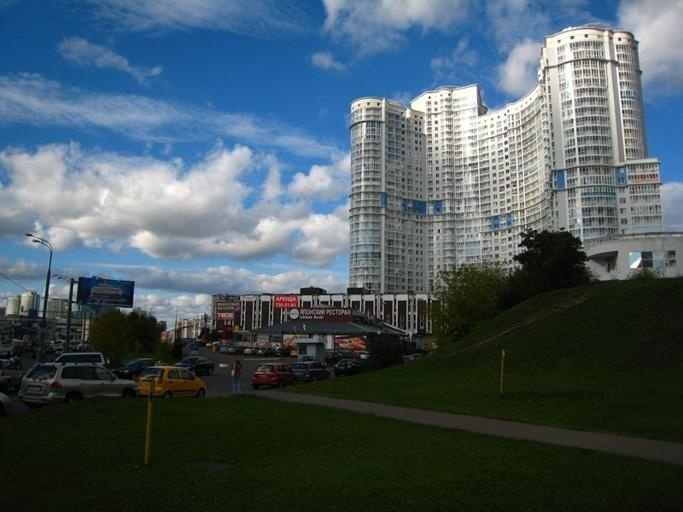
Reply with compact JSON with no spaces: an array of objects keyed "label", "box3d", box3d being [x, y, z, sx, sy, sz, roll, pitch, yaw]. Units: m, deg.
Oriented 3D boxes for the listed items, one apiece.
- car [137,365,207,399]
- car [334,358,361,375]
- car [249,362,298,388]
[{"label":"car","box3d":[-9.418,6.789,31.178,2.384,1.715,3.245,0,-5,13]},{"label":"car","box3d":[0.506,9.844,51.502,2.101,1.364,1.607,1,-5,-2]},{"label":"car","box3d":[-4.653,8.205,40.250,1.596,1.664,3.446,-2,-6,28]}]
